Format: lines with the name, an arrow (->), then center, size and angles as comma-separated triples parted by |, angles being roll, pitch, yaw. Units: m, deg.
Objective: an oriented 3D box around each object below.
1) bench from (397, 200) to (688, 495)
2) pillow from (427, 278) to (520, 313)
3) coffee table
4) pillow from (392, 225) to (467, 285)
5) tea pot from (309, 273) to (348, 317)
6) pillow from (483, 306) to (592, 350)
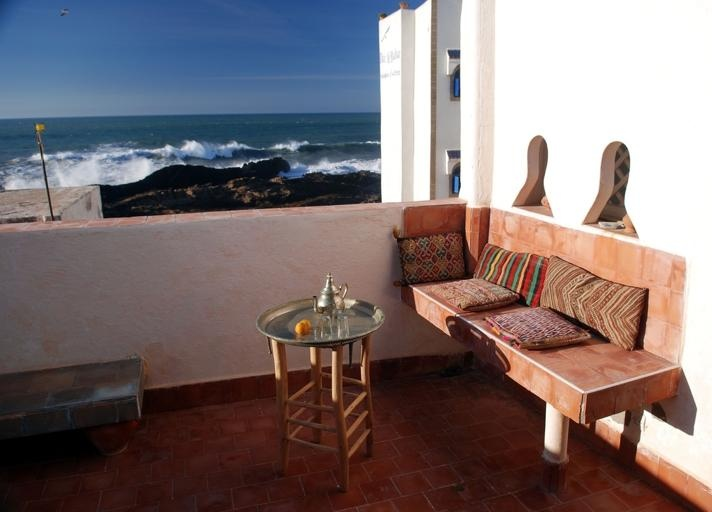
bench -> 1.542, 0.746, 3.830 | 0.722, 1.329, 2.122 | -4, 13, -20
pillow -> 1.080, 0.343, 4.210 | 0.389, 0.099, 0.424 | -8, 15, -18
coffee table -> -0.253, 1.190, 4.326 | 1.095, 1.640, 1.087 | 1, 6, 4
pillow -> 0.713, -0.002, 4.777 | 0.568, 0.430, 0.195 | -6, 7, -13
tea pot -> -0.183, 0.330, 3.878 | 0.351, 0.346, 0.241 | -4, 6, -28
pillow -> 1.389, 0.555, 3.609 | 0.395, 0.102, 0.389 | -5, 18, -12
